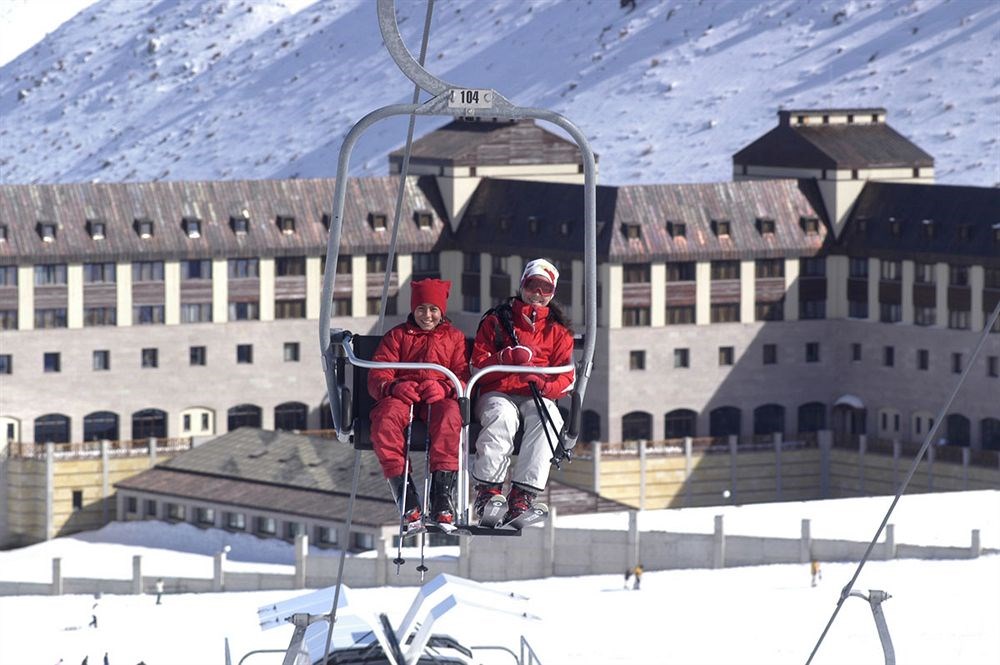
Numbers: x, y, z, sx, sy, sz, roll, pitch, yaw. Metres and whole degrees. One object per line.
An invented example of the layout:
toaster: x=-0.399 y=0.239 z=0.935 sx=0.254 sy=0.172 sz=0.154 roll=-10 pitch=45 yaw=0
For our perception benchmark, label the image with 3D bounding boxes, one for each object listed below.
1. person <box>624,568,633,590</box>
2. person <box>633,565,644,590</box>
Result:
person: x=6.586 y=12.157 z=152.429 sx=0.422 sy=0.916 sz=1.035 roll=-1 pitch=-5 yaw=11
person: x=7.143 y=12.096 z=152.600 sx=0.496 sy=1.162 sz=1.422 roll=-1 pitch=-5 yaw=2
